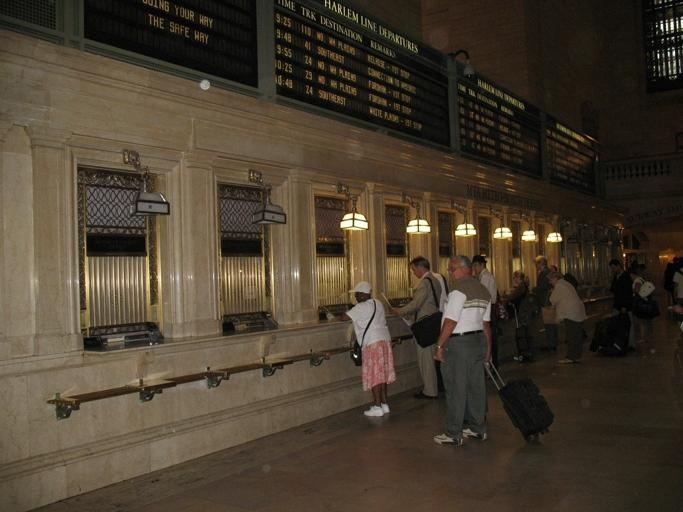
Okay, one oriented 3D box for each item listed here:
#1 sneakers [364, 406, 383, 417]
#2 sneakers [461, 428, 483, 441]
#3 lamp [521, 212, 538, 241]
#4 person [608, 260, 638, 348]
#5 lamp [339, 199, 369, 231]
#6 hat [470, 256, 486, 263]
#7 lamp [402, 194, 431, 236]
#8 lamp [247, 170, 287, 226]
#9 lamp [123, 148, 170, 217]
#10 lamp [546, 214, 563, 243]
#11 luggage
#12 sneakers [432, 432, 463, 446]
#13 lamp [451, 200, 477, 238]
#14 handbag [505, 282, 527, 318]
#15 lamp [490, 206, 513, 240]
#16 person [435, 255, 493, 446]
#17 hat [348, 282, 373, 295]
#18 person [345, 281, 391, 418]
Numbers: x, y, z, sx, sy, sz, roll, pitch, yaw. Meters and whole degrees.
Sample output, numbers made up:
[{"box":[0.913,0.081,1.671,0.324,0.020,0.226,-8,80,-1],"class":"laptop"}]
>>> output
[{"box":[0.482,2.282,9.046,0.290,0.136,0.120,-5,-2,27],"class":"sneakers"},{"box":[1.710,2.285,7.905,0.310,0.143,0.116,9,8,39],"class":"sneakers"},{"box":[4.816,-0.749,15.783,0.361,0.777,1.638,-3,0,18],"class":"lamp"},{"box":[6.199,1.061,13.473,0.445,2.009,1.537,-3,0,25],"class":"person"},{"box":[0.172,-0.689,10.051,0.418,0.490,0.841,-3,0,-1],"class":"lamp"},{"box":[2.473,0.054,11.112,0.202,0.162,0.145,21,13,32],"class":"hat"},{"box":[1.373,-0.789,11.410,0.452,0.758,0.922,-3,0,7],"class":"lamp"},{"box":[-1.085,-0.849,8.770,0.482,0.766,0.670,-3,0,-9],"class":"lamp"},{"box":[-2.412,-0.897,7.495,0.494,0.762,0.652,-3,0,-20],"class":"lamp"},{"box":[5.972,-0.743,17.275,0.402,0.815,1.548,-3,0,20],"class":"lamp"},{"box":[2.299,1.812,7.700,0.424,0.593,1.611,-25,-34,16],"class":"luggage"},{"box":[1.344,2.300,7.705,0.273,0.118,0.157,5,0,25],"class":"sneakers"},{"box":[2.553,-0.776,12.948,0.420,0.844,0.737,-5,-2,30],"class":"lamp"},{"box":[3.909,0.988,13.535,0.395,0.748,1.145,-3,0,23],"class":"handbag"},{"box":[3.750,-0.735,14.396,0.437,0.777,1.132,-3,0,15],"class":"lamp"},{"box":[1.539,1.175,7.844,0.885,2.391,0.442,-3,0,-32],"class":"person"},{"box":[0.265,0.478,9.070,0.280,0.162,0.197,-4,-2,14],"class":"hat"},{"box":[0.425,1.368,9.044,0.667,1.979,0.312,-3,0,-4],"class":"person"}]
